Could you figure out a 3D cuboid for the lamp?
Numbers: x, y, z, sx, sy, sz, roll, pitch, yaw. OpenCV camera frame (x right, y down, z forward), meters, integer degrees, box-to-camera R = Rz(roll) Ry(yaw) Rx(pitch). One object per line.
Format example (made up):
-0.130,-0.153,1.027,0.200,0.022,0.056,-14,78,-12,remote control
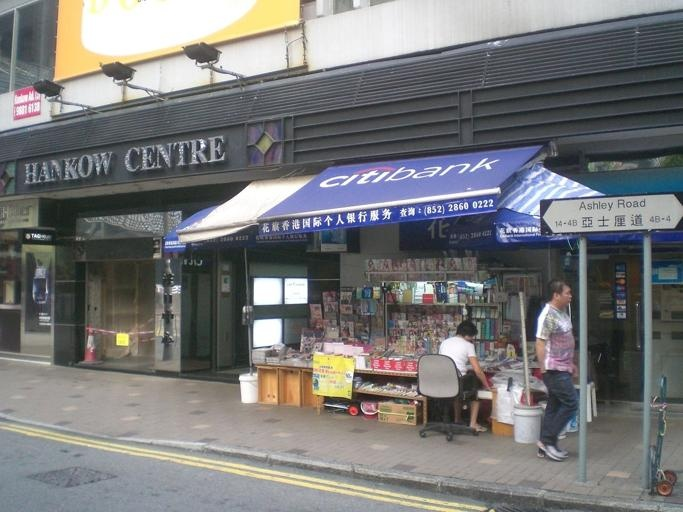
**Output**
-4.455,-3.971,16.685,3.607,0.315,1.351,-8,-28,37,lamp

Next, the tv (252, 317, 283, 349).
-1.740,1.766,17.610,0.082,0.590,0.815,-9,-9,38,tv

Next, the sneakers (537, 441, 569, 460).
3.008,2.789,10.965,0.454,0.210,0.202,3,-4,34,sneakers

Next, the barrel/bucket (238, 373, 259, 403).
-1.765,2.497,14.483,0.464,0.509,0.472,0,-4,0,barrel/bucket

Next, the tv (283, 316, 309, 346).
-1.101,1.765,18.036,0.672,0.654,0.157,5,-2,-10,tv

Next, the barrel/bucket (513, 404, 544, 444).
2.843,2.569,11.709,0.502,0.541,0.507,0,-6,0,barrel/bucket

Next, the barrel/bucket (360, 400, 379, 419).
0.489,2.679,13.381,0.205,0.269,0.373,3,-5,-26,barrel/bucket

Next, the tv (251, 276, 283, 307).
-1.748,0.822,17.984,0.649,0.606,0.154,2,-3,-43,tv

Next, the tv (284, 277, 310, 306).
-1.058,0.796,18.057,0.694,0.770,0.074,0,7,8,tv

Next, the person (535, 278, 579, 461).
3.108,1.636,11.024,0.550,2.558,0.359,0,-4,17,person
